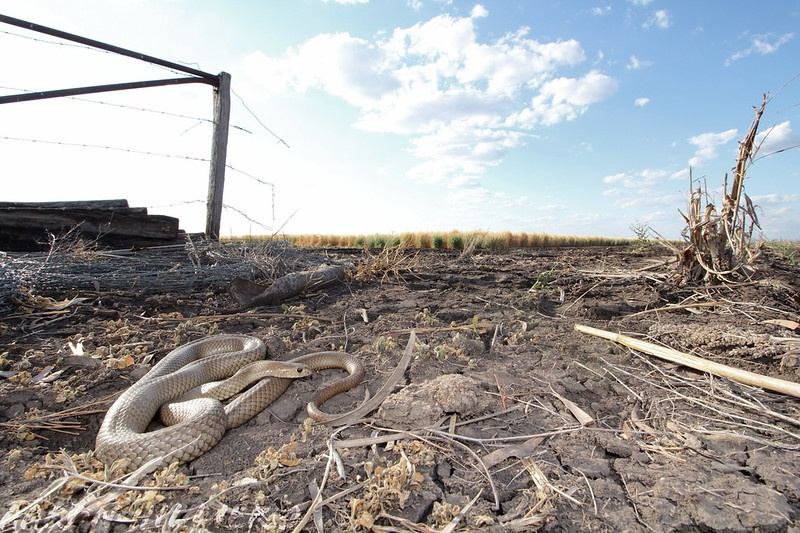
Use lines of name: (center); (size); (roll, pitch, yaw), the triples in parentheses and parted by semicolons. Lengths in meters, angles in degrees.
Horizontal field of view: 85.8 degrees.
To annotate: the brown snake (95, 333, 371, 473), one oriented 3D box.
brown snake: (-2.075, 1.374, 5.314); (2.652, 0.589, 1.874); (-15, 29, -22)
